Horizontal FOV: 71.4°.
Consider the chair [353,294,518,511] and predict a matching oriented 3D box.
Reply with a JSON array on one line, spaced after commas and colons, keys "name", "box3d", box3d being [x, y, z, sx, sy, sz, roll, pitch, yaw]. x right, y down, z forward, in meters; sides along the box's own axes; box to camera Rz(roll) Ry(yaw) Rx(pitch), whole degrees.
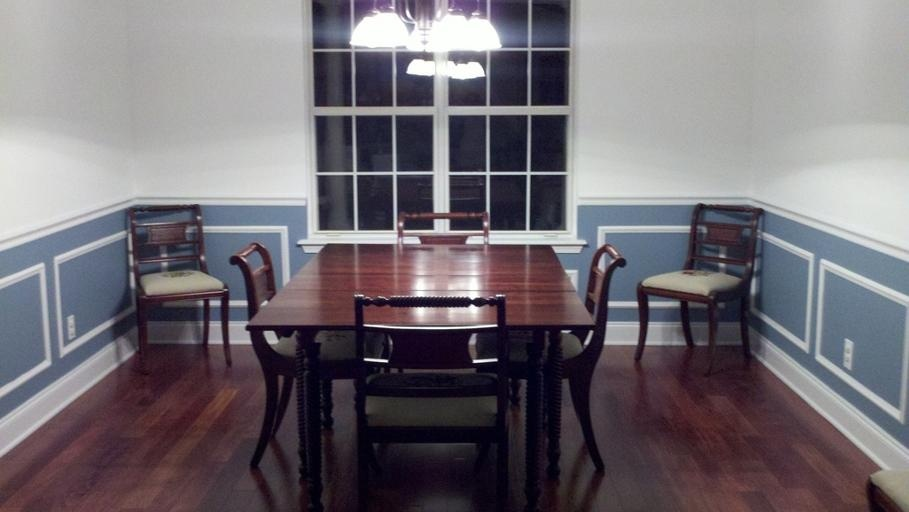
[{"name": "chair", "box3d": [-0.133, 0.805, 3.847, 0.885, 1.347, 0.773, -1, 16, 0]}]

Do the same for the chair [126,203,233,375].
[{"name": "chair", "box3d": [-2.442, 0.216, 5.589, 0.808, 1.275, 0.866, -7, 17, -22]}]

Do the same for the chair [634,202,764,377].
[{"name": "chair", "box3d": [2.189, 0.234, 5.517, 1.111, 1.297, 0.825, -13, 20, -36]}]
